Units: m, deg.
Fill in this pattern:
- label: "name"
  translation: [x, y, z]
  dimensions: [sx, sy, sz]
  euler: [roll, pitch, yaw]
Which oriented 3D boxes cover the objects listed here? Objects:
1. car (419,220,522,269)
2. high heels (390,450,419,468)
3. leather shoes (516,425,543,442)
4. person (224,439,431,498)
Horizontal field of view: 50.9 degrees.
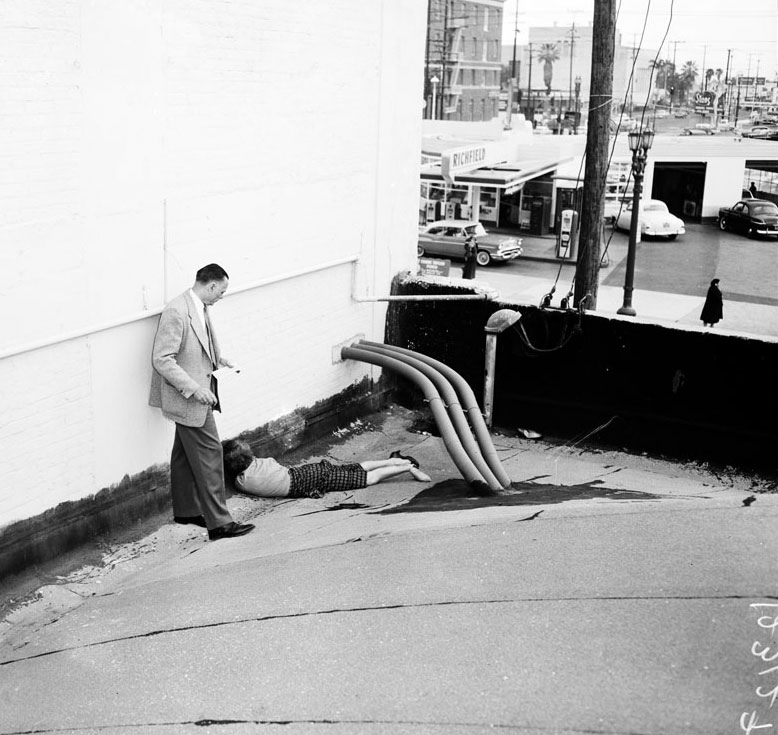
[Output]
- label: "car"
  translation: [2.709, -3.764, 28.712]
  dimensions: [3.465, 1.377, 2.109]
  euler: [10, 24, 17]
- label: "high heels"
  translation: [0.160, 0.894, 8.265]
  dimensions: [0.321, 0.159, 0.112]
  euler: [18, 29, 37]
- label: "leather shoes"
  translation: [1.555, 0.733, 9.022]
  dimensions: [0.284, 0.115, 0.149]
  euler: [1, 10, 17]
- label: "person"
  translation: [-0.566, 0.849, 7.475]
  dimensions: [1.825, 0.733, 0.701]
  euler: [-1, 5, -18]
